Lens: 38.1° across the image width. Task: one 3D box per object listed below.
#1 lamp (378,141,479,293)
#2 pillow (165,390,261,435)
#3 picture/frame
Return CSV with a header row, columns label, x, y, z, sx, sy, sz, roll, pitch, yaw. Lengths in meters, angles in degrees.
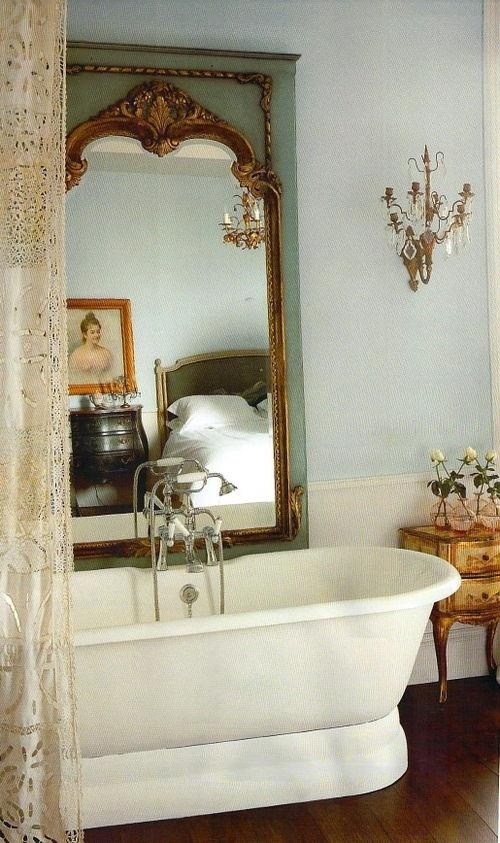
label,x,y,z,sx,sy,sz,roll,pitch,yaw
lamp,0.714,-0.813,2.956,0.337,0.575,0.260,0,8,6
pillow,-0.116,-0.025,2.744,0.227,0.176,0.063,0,-5,-7
picture/frame,-0.533,-0.273,2.544,0.353,0.448,0.029,-2,1,-13
